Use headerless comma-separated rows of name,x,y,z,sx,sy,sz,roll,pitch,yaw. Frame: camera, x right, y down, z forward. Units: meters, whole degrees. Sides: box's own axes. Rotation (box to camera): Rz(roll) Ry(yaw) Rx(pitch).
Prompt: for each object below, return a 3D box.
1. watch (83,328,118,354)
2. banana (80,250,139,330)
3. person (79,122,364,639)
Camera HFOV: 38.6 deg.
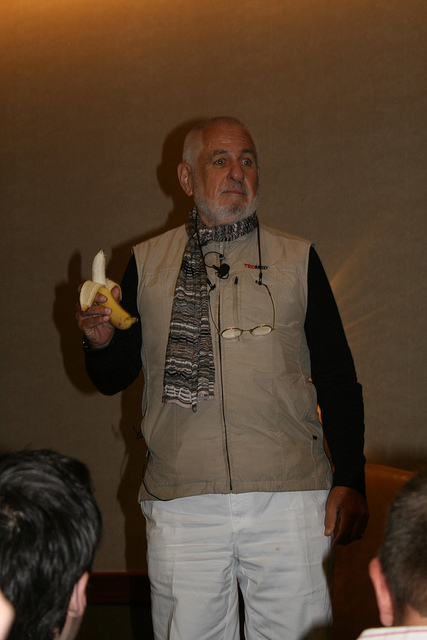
watch,-0.279,0.055,1.528,0.083,0.055,0.057,-12,25,-20
banana,-0.250,-0.060,1.475,0.072,0.187,0.124,-34,16,-32
person,0.024,0.136,1.505,0.641,1.028,0.838,-9,24,-12
